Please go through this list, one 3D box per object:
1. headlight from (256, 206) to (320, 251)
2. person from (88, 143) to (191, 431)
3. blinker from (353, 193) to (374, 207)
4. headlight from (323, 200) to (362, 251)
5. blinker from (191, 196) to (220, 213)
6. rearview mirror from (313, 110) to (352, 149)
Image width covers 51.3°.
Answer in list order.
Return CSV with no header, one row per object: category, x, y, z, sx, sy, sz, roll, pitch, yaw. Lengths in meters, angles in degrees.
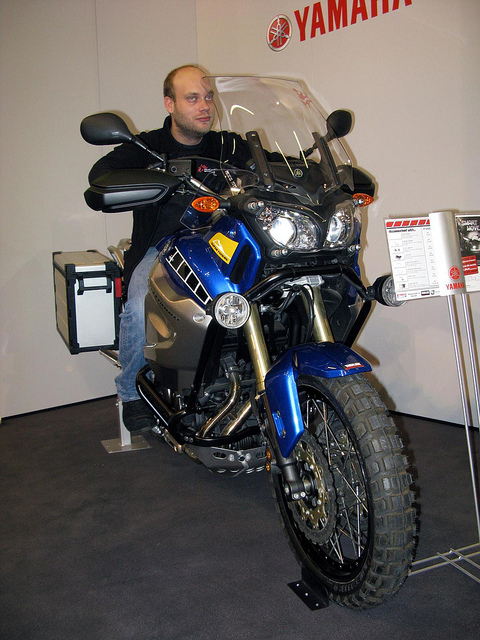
headlight,0.122,-0.226,1.236,0.147,0.108,0.115,-5,13,-27
person,-0.431,-0.106,2.080,0.306,1.127,0.835,1,5,-3
blinker,0.360,-0.354,1.461,0.056,0.040,0.022,-10,-2,-21
headlight,0.251,-0.242,1.310,0.109,0.145,0.052,0,14,-34
blinker,-0.085,-0.287,1.229,0.054,0.035,0.016,-12,11,-25
rearview mirror,0.296,-0.588,1.506,0.077,0.100,0.063,-2,4,10
